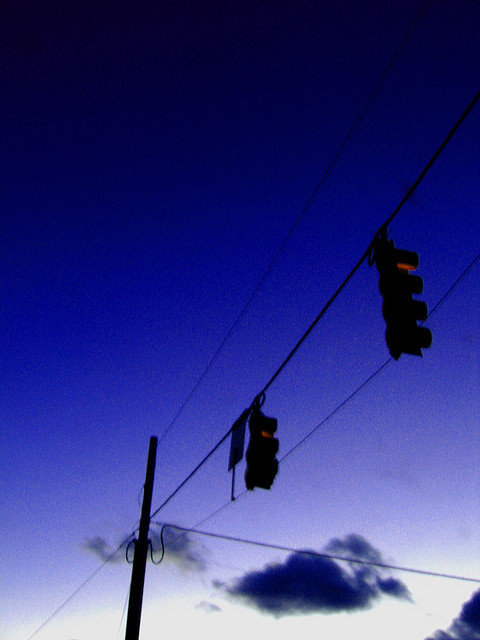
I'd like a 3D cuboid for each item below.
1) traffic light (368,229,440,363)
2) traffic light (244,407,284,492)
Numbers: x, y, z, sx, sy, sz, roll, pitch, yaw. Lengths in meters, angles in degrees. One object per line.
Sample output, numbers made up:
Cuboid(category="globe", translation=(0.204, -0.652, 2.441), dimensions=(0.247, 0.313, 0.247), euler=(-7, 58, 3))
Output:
Cuboid(category="traffic light", translation=(1.334, -0.161, 4.910), dimensions=(0.293, 1.126, 0.248), euler=(-15, -41, 21))
Cuboid(category="traffic light", translation=(0.322, 1.812, 8.220), dimensions=(0.374, 0.261, 1.177), euler=(12, -58, 23))
